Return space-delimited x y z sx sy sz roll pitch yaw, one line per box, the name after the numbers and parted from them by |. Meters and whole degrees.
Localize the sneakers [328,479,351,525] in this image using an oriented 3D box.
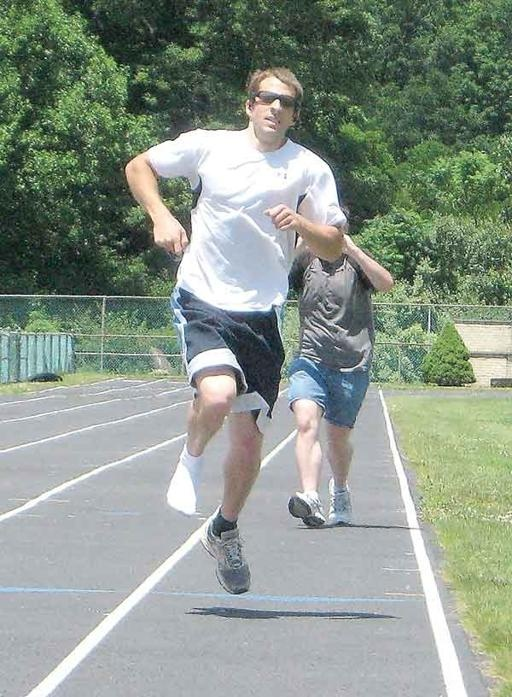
0.554 1.027 5.228 0.136 0.328 0.149 -2 8 0 | sneakers

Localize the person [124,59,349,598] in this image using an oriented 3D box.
-0.022 -0.065 3.080 0.799 2.183 0.633 0 2 -22 | person

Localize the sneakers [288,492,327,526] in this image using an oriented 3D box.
0.308 0.931 4.652 0.127 0.293 0.142 0 47 31 | sneakers
